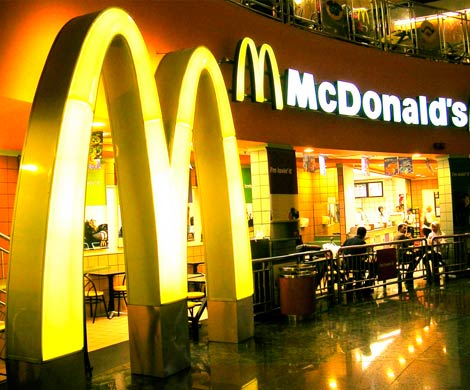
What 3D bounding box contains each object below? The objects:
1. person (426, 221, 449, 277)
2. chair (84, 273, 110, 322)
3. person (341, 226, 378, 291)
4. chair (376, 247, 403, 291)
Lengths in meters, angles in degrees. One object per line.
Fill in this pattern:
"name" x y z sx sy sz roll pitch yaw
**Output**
"person" 5.198 1.369 11.250 0.443 1.427 1.006 -3 -3 25
"chair" -3.085 2.260 9.585 0.497 0.820 0.563 -5 -16 4
"person" 2.734 1.439 9.683 0.559 1.484 1.131 -3 -3 28
"chair" 3.587 1.675 10.151 0.521 0.961 0.988 -3 -2 22
